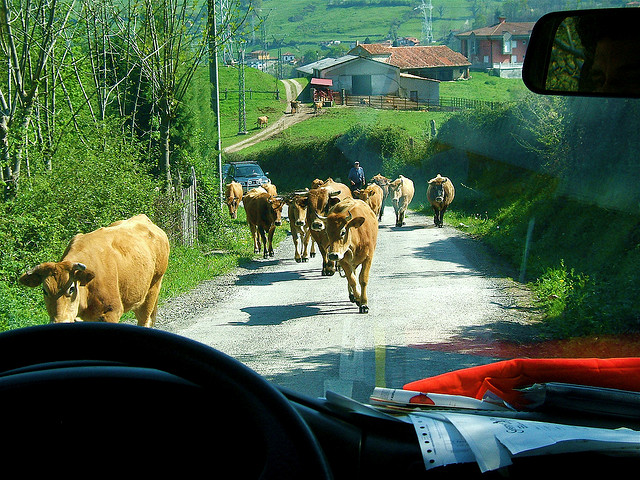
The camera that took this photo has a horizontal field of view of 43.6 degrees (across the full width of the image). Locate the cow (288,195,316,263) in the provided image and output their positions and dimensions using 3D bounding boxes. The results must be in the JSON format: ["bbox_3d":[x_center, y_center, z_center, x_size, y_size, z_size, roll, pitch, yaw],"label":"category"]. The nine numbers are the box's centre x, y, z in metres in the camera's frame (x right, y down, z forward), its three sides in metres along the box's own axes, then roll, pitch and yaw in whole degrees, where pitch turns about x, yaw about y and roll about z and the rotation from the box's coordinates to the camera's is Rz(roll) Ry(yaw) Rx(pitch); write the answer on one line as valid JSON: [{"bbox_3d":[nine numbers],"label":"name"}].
[{"bbox_3d":[-0.352,-0.291,17.940,0.559,1.595,0.649,1,9,-10],"label":"cow"}]

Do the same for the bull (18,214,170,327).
[{"bbox_3d":[-2.452,0.584,9.127,0.822,1.366,2.684,0,4,9],"label":"bull"}]

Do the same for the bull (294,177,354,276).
[{"bbox_3d":[0.068,-0.019,15.367,0.948,2.268,1.599,3,9,22],"label":"bull"}]

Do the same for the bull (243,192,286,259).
[{"bbox_3d":[-1.352,-0.324,19.757,0.787,1.911,3.415,-4,21,-10],"label":"bull"}]

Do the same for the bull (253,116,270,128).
[{"bbox_3d":[-5.571,-11.313,76.387,1.102,1.093,3.232,-1,21,-4],"label":"bull"}]

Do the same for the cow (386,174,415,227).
[{"bbox_3d":[2.716,-1.428,26.447,0.511,1.152,1.986,1,-19,17],"label":"cow"}]

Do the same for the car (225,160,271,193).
[{"bbox_3d":[-3.219,-2.915,35.320,1.540,1.526,2.656,-3,3,-16],"label":"car"}]

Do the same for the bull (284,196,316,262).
[{"bbox_3d":[-0.477,-0.296,17.968,0.623,1.548,0.720,1,9,-11],"label":"bull"}]

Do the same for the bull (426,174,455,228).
[{"bbox_3d":[3.942,-1.281,26.404,0.934,1.684,3.134,-3,1,8],"label":"bull"}]
